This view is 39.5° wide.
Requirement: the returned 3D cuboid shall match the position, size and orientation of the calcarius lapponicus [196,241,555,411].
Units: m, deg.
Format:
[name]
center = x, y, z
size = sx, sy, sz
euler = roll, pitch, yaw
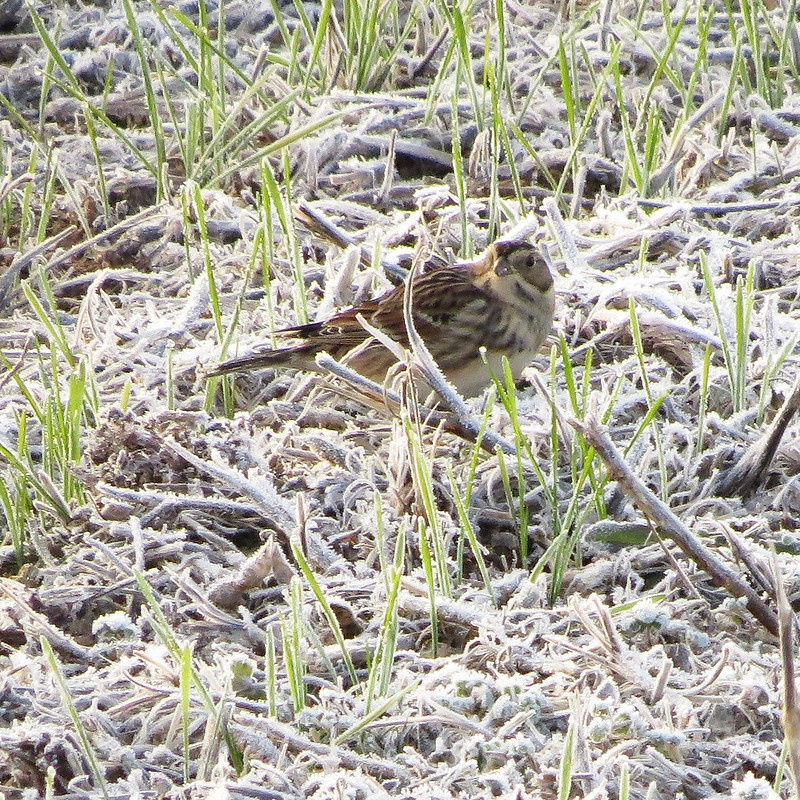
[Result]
[calcarius lapponicus]
center = 0.019, -0.195, 2.956
size = 1.105, 0.298, 0.423
euler = 0, 104, 12
